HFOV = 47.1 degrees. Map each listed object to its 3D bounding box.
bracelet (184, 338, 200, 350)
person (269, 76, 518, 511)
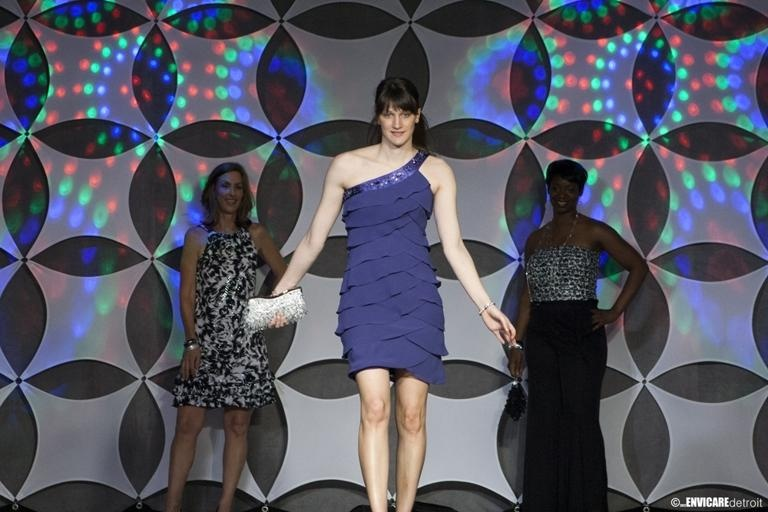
[{"bbox_3d":[-1.359,0.618,6.200,0.069,0.083,0.076,-2,-8,7],"label":"bracelet"},{"bbox_3d":[0.033,0.249,5.380,1.123,2.471,0.743,14,-21,-27],"label":"person"}]
